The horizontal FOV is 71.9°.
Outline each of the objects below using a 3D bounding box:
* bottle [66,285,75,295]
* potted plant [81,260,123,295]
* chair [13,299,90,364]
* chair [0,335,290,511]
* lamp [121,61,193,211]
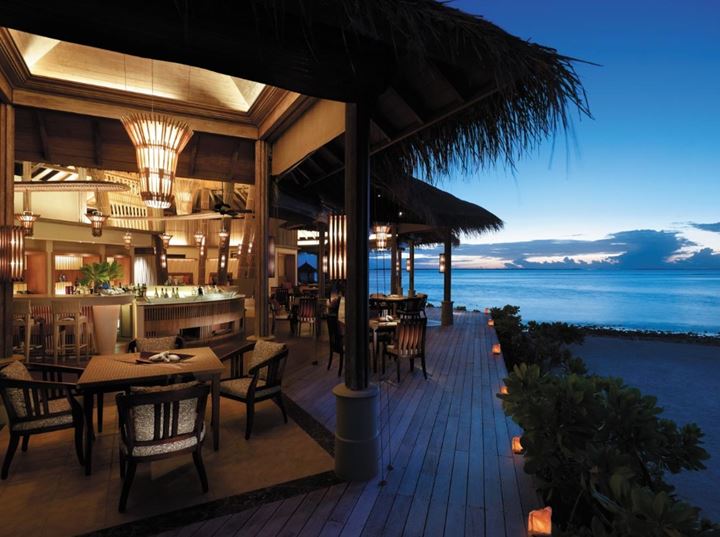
[{"bbox_3d":[-7.173,0.544,12.375,0.174,0.233,0.239,-4,-2,21],"label":"bottle"},{"bbox_3d":[-4.989,0.119,9.662,0.775,0.679,0.774,-1,5,-27],"label":"potted plant"},{"bbox_3d":[-4.823,0.986,7.791,0.978,1.436,0.976,1,1,-14],"label":"chair"},{"bbox_3d":[-2.302,1.344,5.440,1.859,0.984,1.415,2,-6,-31],"label":"chair"},{"bbox_3d":[-2.476,-1.330,6.234,0.740,1.143,0.373,-5,12,-25],"label":"lamp"}]
